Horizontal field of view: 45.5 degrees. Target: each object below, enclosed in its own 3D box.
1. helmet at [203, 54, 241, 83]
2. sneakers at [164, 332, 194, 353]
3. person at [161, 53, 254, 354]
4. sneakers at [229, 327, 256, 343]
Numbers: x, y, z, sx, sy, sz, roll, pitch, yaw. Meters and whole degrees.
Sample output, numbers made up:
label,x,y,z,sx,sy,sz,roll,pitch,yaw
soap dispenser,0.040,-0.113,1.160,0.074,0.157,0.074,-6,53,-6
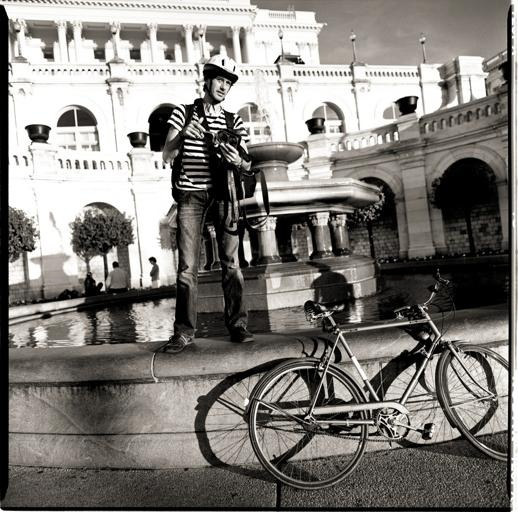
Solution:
label,x,y,z,sx,sy,sz,roll,pitch,yaw
helmet,-0.263,-1.241,4.109,0.222,0.197,0.206,-5,12,-5
sneakers,-0.516,0.557,3.920,0.071,0.086,0.199,-4,-3,19
person,-0.341,-0.380,4.099,0.592,1.859,0.810,-4,11,-1
sneakers,-0.113,0.508,4.031,0.152,0.081,0.070,-5,5,-32
